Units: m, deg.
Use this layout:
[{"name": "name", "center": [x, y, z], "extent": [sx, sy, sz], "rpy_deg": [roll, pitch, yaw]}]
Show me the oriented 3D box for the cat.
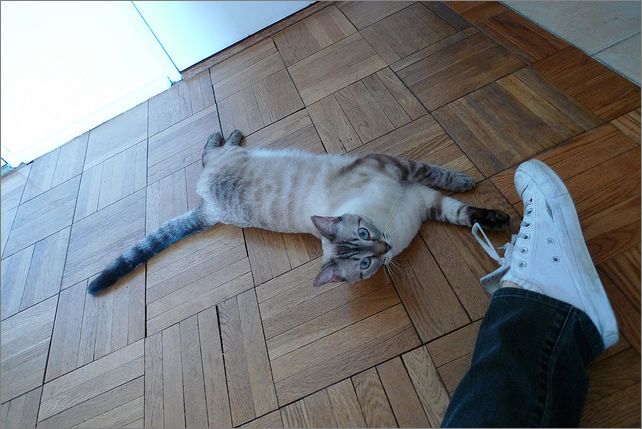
[{"name": "cat", "center": [-0.119, -0.036, 2.157], "extent": [1.579, 0.516, 0.872], "rpy_deg": [7, 82, 29]}]
